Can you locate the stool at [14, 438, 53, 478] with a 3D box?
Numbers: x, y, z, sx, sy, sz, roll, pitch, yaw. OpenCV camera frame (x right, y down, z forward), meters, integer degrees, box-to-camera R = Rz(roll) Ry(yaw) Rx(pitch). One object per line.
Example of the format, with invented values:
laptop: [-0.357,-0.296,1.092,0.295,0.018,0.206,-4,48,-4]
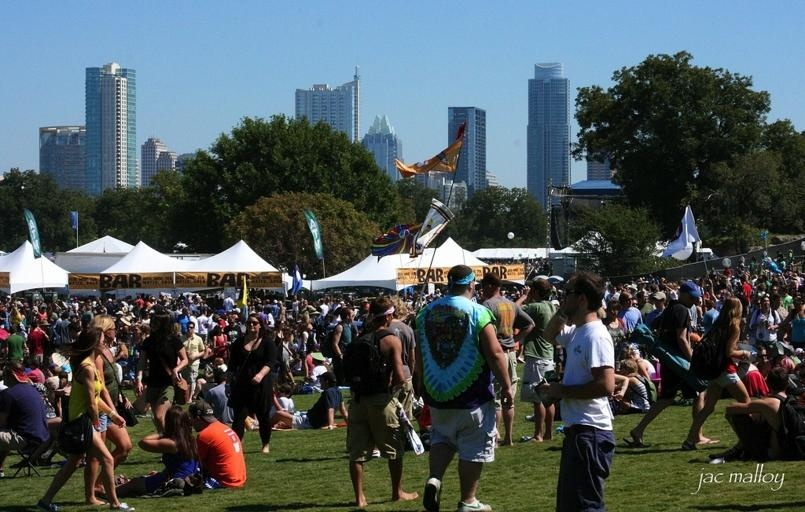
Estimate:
stool: [-15.681,8.583,65.570,1.630,2.079,1.273,3,-2,-4]

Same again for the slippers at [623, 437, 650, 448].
slippers: [9.777,7.935,64.970,1.170,0.332,0.426,3,8,13]

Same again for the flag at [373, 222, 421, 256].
flag: [-0.321,-0.512,81.370,2.445,1.336,0.739,-21,-17,5]

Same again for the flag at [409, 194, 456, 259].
flag: [1.472,-1.212,76.007,2.004,3.451,1.361,0,-1,-28]

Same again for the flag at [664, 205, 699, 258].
flag: [17.058,-1.288,94.399,1.831,3.402,1.645,-12,-38,24]
